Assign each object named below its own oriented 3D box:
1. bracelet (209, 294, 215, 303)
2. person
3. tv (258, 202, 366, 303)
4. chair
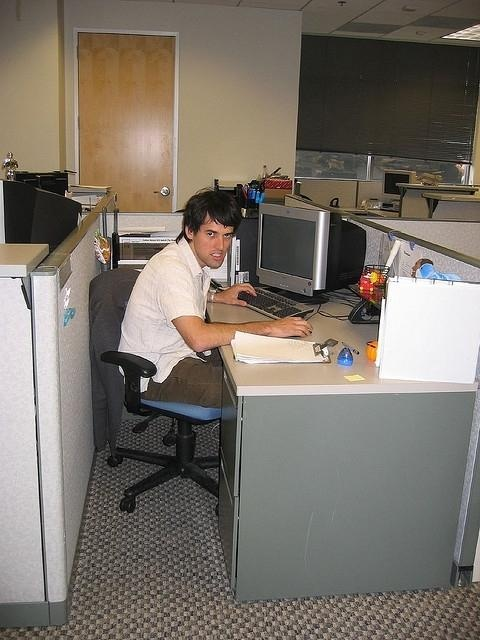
[{"bbox_3d":[-0.120,-0.090,2.182,0.024,0.039,0.034,6,-21,-14],"label":"bracelet"},{"bbox_3d":[-0.079,0.014,1.841,0.623,0.862,0.528,12,25,19],"label":"person"},{"bbox_3d":[0.241,-0.293,2.272,0.371,0.468,0.542,-1,11,-28],"label":"tv"},{"bbox_3d":[-0.256,0.217,1.906,0.468,0.789,0.518,-1,6,8],"label":"chair"}]
